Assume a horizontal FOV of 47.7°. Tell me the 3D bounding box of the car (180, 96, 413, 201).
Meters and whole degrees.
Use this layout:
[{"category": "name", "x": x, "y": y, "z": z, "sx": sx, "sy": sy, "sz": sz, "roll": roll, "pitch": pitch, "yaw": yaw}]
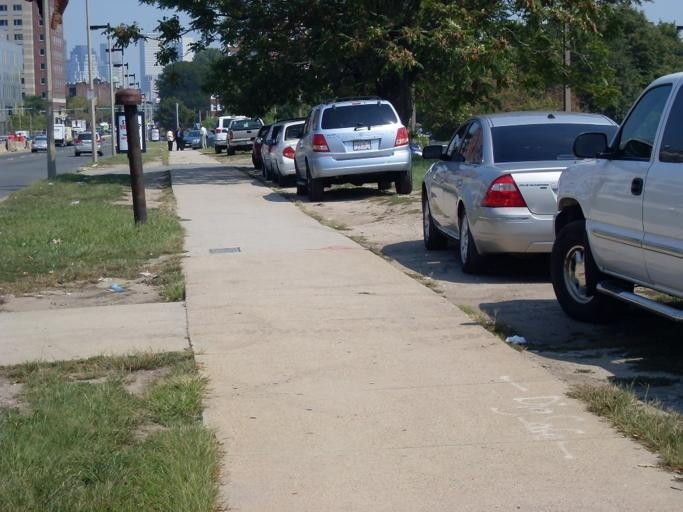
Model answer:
[{"category": "car", "x": 0.275, "y": -2.524, "z": 18.246, "sx": 2.693, "sy": 2.381, "sz": 1.897, "roll": 2, "pitch": 11, "yaw": 8}]
